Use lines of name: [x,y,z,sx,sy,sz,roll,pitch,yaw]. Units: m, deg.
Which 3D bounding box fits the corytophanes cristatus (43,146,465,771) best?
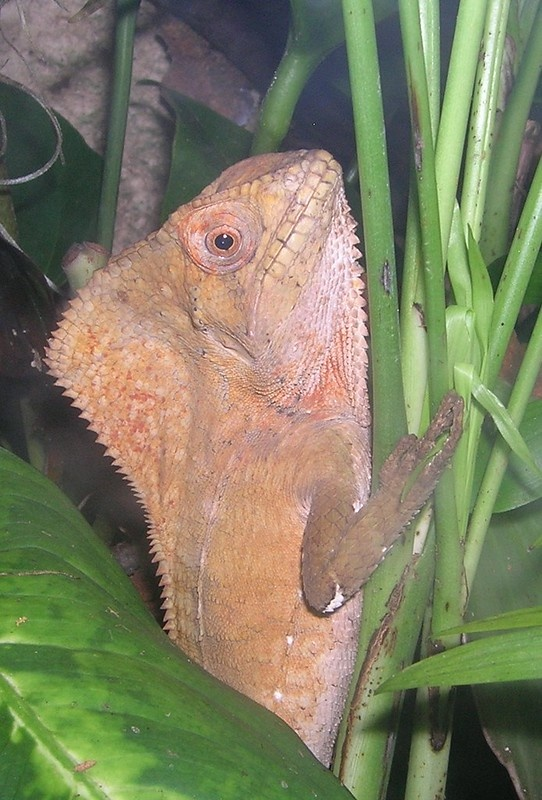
corytophanes cristatus: [0.026,0.076,1.336,0.395,0.936,0.517,-9,24,-40]
